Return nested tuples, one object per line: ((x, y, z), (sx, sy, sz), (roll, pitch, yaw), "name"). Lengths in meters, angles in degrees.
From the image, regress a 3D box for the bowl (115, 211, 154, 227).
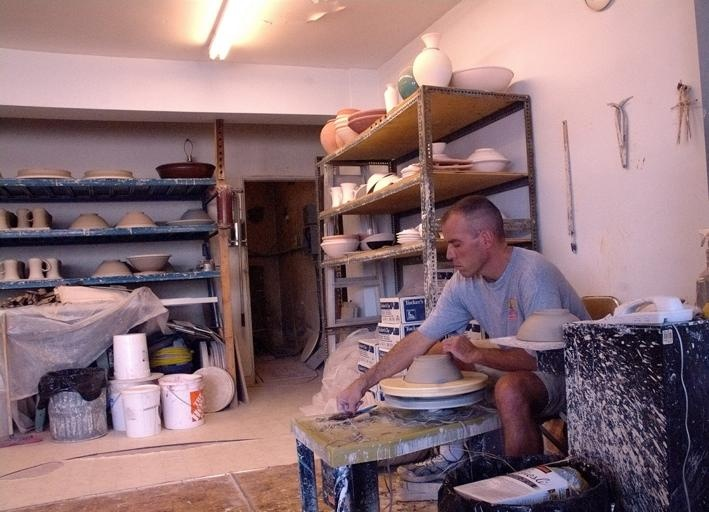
((-2.121, -0.347, 5.084), (0.224, 0.078, 0.226), (0, -3, 0), "bowl")

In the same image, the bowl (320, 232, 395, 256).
((-0.023, -0.118, 4.541), (0.374, 0.126, 0.300), (-9, -6, 9), "bowl")

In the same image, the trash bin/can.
((-2.134, 1.180, 4.241), (0.516, 0.494, 0.514), (-2, -6, 6), "trash bin/can")

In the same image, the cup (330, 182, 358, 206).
((-0.099, -0.547, 4.579), (0.258, 0.248, 0.163), (2, -3, 15), "cup")

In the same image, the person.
((0.672, 0.332, 2.727), (1.266, 1.253, 0.891), (6, -14, -19), "person")

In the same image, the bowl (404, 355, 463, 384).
((0.299, 0.420, 1.953), (0.131, 0.045, 0.134), (-1, -2, 0), "bowl")

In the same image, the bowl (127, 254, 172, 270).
((-2.074, 0.066, 5.258), (0.373, 0.178, 0.410), (-3, -2, 0), "bowl")

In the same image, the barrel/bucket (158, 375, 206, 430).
((-1.363, 1.159, 4.344), (0.404, 0.391, 0.399), (-3, 2, 0), "barrel/bucket")

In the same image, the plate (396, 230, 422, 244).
((0.379, -0.135, 3.677), (0.120, 0.049, 0.119), (-2, -7, -11), "plate")

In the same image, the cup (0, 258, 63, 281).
((-3.070, 0.125, 4.935), (0.482, 0.221, 0.455), (-3, -2, 0), "cup")

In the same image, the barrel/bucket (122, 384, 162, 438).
((-1.615, 1.190, 4.168), (0.349, 0.379, 0.347), (-2, 3, 0), "barrel/bucket")

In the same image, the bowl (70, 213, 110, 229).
((-2.521, -0.339, 4.961), (0.297, 0.195, 0.391), (-3, -2, -28), "bowl")

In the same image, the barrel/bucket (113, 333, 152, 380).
((-1.869, 0.806, 4.480), (0.348, 0.389, 0.358), (-3, 4, 0), "barrel/bucket")

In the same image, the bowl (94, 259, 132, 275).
((-2.327, 0.136, 5.046), (0.214, 0.085, 0.217), (0, -4, 0), "bowl")

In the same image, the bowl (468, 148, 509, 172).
((0.895, -0.647, 3.491), (0.307, 0.152, 0.148), (-2, -2, -34), "bowl")

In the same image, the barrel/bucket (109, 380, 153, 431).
((-1.833, 1.228, 4.423), (0.402, 0.355, 0.367), (-1, -6, 0), "barrel/bucket")

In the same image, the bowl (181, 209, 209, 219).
((-1.590, -0.423, 5.211), (0.254, 0.118, 0.165), (-3, -2, -21), "bowl")
